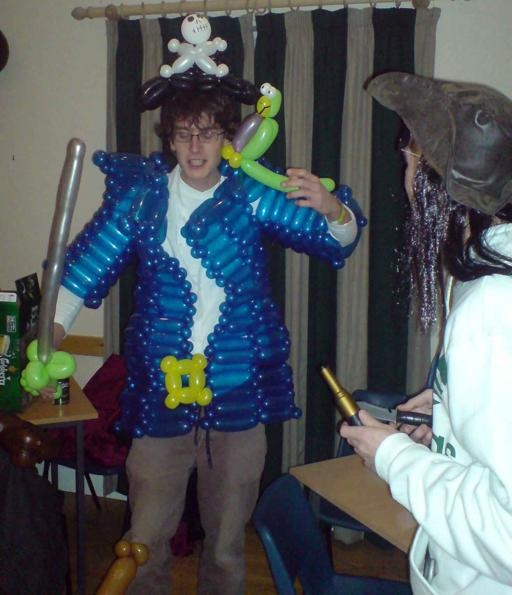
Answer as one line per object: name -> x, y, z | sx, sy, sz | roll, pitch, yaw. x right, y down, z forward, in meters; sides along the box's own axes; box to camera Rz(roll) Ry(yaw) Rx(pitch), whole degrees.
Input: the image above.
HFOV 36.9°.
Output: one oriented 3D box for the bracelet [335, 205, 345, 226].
bracelet -> 0.246, -0.240, 2.264 | 0.010, 0.050, 0.034 | 17, 43, 28
